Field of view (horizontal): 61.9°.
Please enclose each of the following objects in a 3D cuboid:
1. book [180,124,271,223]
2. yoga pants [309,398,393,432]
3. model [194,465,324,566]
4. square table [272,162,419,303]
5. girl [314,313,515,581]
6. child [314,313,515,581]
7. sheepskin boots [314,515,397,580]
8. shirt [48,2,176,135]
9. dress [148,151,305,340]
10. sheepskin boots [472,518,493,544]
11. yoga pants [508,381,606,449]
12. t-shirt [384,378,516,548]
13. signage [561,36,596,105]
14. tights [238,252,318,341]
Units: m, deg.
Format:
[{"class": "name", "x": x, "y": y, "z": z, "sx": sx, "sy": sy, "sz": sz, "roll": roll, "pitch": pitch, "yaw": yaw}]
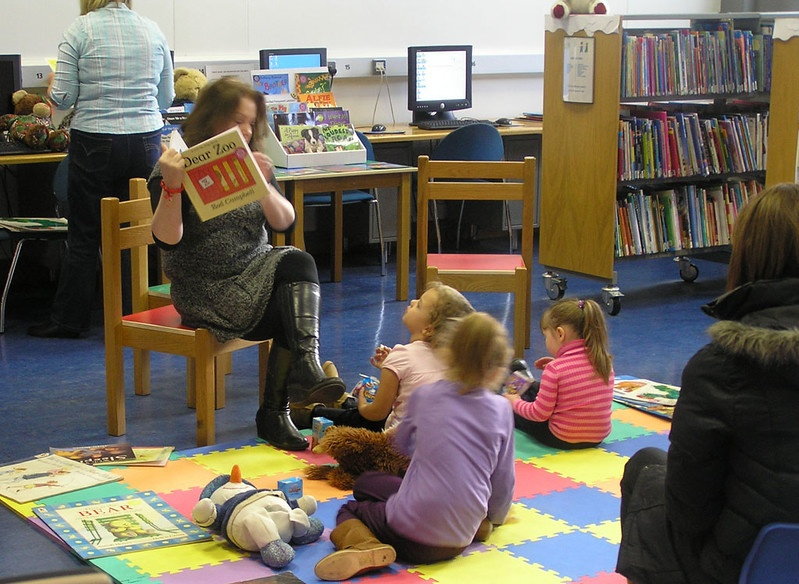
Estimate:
[{"class": "book", "x": -0.651, "y": -0.418, "z": 2.375, "sx": 0.341, "sy": 0.313, "sz": 0.087, "roll": 0, "pitch": 9, "yaw": 14}, {"class": "yoga pants", "x": -0.202, "y": 0.489, "z": 2.596, "sx": 0.230, "sy": 0.092, "sz": 0.136, "roll": 5, "pitch": 5, "yaw": 12}, {"class": "model", "x": -0.429, "y": 0.637, "z": 1.958, "sx": 0.268, "sy": 0.150, "sz": 0.314, "roll": -8, "pitch": 15, "yaw": -42}, {"class": "square table", "x": -0.350, "y": -0.442, "z": 4.682, "sx": 1.016, "sy": 0.891, "sz": 0.994, "roll": -5, "pitch": 11, "yaw": -19}, {"class": "girl", "x": 0.048, "y": 0.486, "z": 1.983, "sx": 0.607, "sy": 0.700, "sz": 0.388, "roll": 13, "pitch": -4, "yaw": -23}, {"class": "child", "x": 0.048, "y": 0.486, "z": 1.983, "sx": 0.607, "sy": 0.700, "sz": 0.388, "roll": 13, "pitch": -4, "yaw": -23}, {"class": "sheepskin boots", "x": -0.137, "y": 0.695, "z": 1.824, "sx": 0.241, "sy": 0.106, "sz": 0.228, "roll": -12, "pitch": 13, "yaw": -9}, {"class": "shirt", "x": -1.648, "y": -1.268, "z": 3.817, "sx": 0.633, "sy": 0.719, "sz": 0.149, "roll": -6, "pitch": 10, "yaw": -26}, {"class": "dress", "x": -0.582, "y": -0.268, "z": 2.659, "sx": 0.668, "sy": 0.904, "sz": 0.581, "roll": 5, "pitch": 14, "yaw": -4}, {"class": "sheepskin boots", "x": 0.244, "y": 0.708, "z": 1.998, "sx": 0.060, "sy": 0.077, "sz": 0.079, "roll": 0, "pitch": 10, "yaw": -4}, {"class": "yoga pants", "x": 0.580, "y": 0.502, "z": 2.726, "sx": 0.195, "sy": 0.100, "sz": 0.344, "roll": -2, "pitch": 11, "yaw": -10}, {"class": "t-shirt", "x": 0.143, "y": 0.482, "z": 1.856, "sx": 0.372, "sy": 0.477, "sz": 0.212, "roll": -2, "pitch": 9, "yaw": -1}, {"class": "signage", "x": 1.197, "y": -1.486, "z": 4.463, "sx": 0.239, "sy": 0.437, "sz": 0.029, "roll": 7, "pitch": 12, "yaw": 45}, {"class": "tights", "x": -0.444, "y": 0.016, "z": 2.555, "sx": 0.150, "sy": 0.350, "sz": 0.275, "roll": 6, "pitch": -5, "yaw": -42}]
